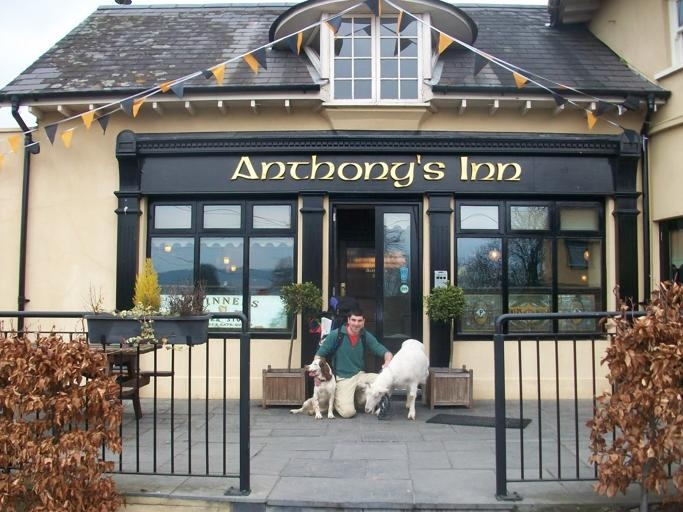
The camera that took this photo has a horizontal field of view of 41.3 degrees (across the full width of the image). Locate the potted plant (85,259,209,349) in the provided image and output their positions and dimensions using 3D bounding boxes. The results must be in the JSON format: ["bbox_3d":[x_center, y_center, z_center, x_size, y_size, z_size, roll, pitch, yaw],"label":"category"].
[{"bbox_3d":[-2.784,0.675,13.093,1.695,1.246,0.600,1,-6,-12],"label":"potted plant"}]

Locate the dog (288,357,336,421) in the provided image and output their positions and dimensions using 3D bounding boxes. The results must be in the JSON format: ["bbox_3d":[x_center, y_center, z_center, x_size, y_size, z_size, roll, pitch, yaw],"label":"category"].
[{"bbox_3d":[-0.475,2.299,15.634,0.854,1.039,0.902,1,-18,-2],"label":"dog"}]

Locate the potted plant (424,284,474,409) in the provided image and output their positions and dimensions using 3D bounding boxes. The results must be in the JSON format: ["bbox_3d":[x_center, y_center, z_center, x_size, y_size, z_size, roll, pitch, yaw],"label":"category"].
[{"bbox_3d":[1.904,1.626,16.307,0.803,2.167,0.804,0,-5,-2],"label":"potted plant"}]
